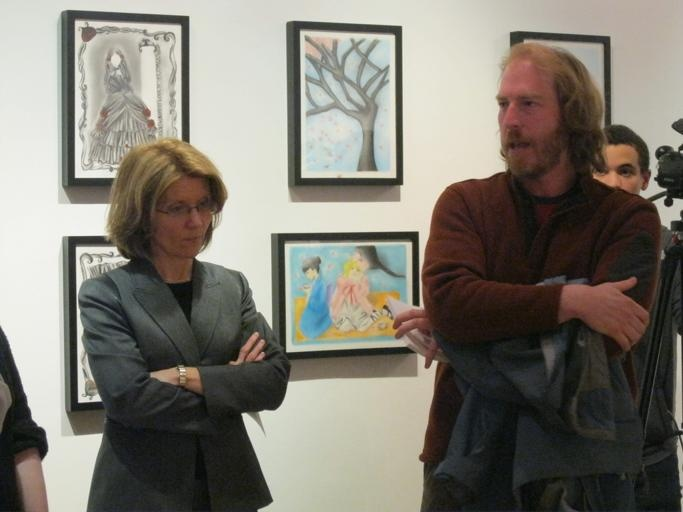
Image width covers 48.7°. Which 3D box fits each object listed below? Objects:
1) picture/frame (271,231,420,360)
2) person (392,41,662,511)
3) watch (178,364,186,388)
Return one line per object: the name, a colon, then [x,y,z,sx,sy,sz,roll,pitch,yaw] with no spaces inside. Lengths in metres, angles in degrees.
picture/frame: [-0.021,0.207,3.908,0.685,0.557,0.051,-2,1,-12]
person: [0.758,-0.241,2.913,0.899,1.179,0.331,-2,3,5]
watch: [-0.648,0.481,3.061,0.038,0.065,0.062,0,7,-11]
